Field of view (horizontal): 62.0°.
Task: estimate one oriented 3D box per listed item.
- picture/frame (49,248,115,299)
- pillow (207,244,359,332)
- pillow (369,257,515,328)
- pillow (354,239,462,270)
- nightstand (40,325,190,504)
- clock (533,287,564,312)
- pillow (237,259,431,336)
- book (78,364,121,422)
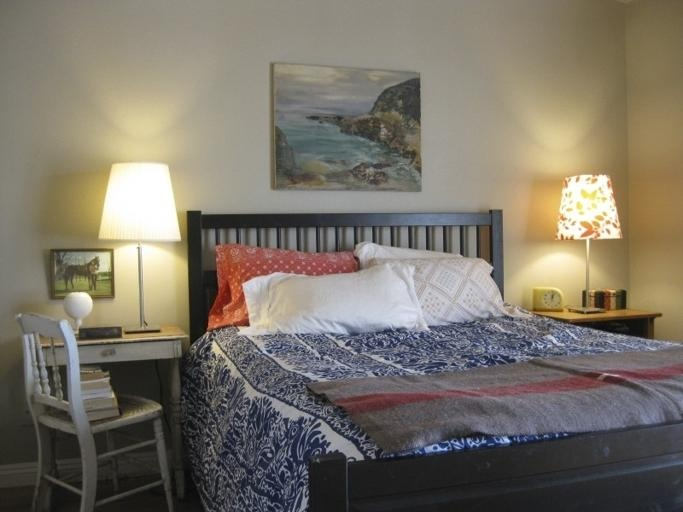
[{"bbox_3d":[-1.393,0.090,3.025,0.264,0.234,0.018,0,4,-13],"label":"picture/frame"},{"bbox_3d":[-0.389,0.148,2.883,0.670,0.487,0.194,5,-8,-26],"label":"pillow"},{"bbox_3d":[0.614,0.177,3.047,0.601,0.385,0.186,-6,-20,-25],"label":"pillow"},{"bbox_3d":[0.356,-0.010,3.252,0.377,0.106,0.149,5,-5,-17],"label":"pillow"},{"bbox_3d":[-1.116,0.719,3.054,0.919,0.878,0.701,-1,1,-28],"label":"nightstand"},{"bbox_3d":[1.312,0.286,3.667,0.225,0.208,0.131,-2,-7,34],"label":"clock"},{"bbox_3d":[-0.014,0.218,2.731,0.685,0.168,0.390,1,41,-14],"label":"pillow"},{"bbox_3d":[-1.068,0.607,2.519,0.176,0.214,0.075,-4,-18,-28],"label":"book"}]
